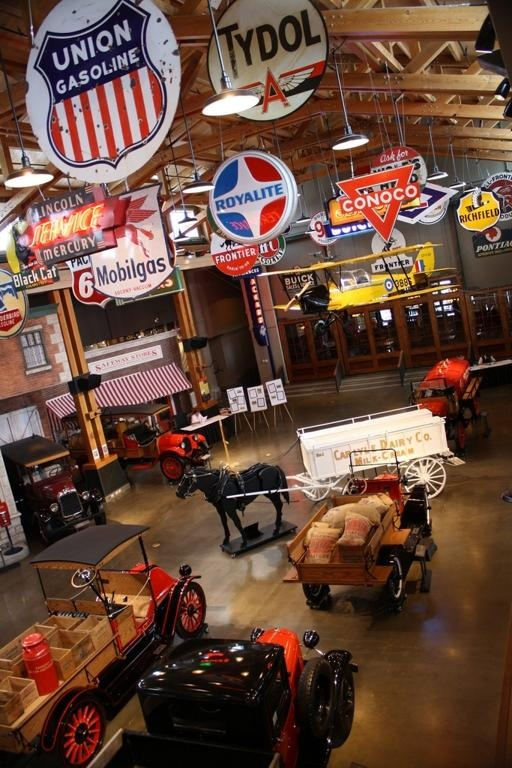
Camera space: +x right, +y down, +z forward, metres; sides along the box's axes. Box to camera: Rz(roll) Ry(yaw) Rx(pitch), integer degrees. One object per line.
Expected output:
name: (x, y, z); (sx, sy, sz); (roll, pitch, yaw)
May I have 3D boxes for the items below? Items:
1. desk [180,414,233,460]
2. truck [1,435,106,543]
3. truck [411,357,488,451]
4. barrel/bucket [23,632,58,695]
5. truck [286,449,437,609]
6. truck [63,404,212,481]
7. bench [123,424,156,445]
desk: (-1.516, 1.913, 19.190); (1.615, 1.469, 1.655); (-25, -4, 40)
truck: (-5.500, 2.805, 14.975); (2.056, 2.545, 5.385); (-16, 12, -30)
truck: (5.330, 0.588, 14.697); (1.594, 2.042, 4.066); (-23, 7, 26)
barrel/bucket: (-2.361, 3.031, 5.583); (0.272, 0.690, 0.349); (-14, 5, -16)
truck: (1.870, 2.396, 8.241); (1.906, 1.695, 2.954); (-2, 20, 22)
truck: (-3.963, 2.159, 18.470); (5.342, 2.618, 2.678); (-1, 9, 21)
bench: (-4.262, 1.837, 19.083); (0.805, 0.837, 0.885); (-17, 2, 43)
